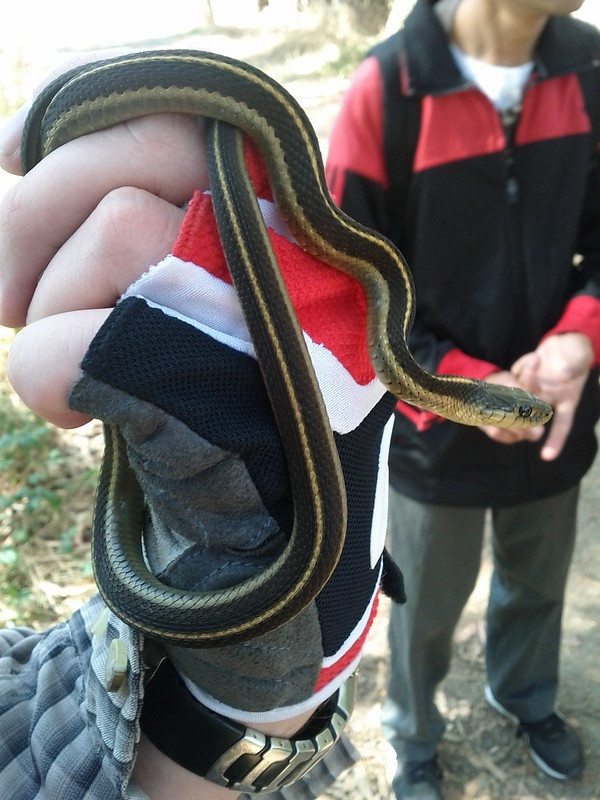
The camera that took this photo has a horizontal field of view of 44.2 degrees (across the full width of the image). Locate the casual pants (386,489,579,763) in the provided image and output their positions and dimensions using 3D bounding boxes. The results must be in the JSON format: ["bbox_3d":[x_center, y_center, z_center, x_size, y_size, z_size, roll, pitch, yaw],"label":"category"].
[{"bbox_3d":[0.668,0.680,2.641,0.501,0.988,0.671,-18,19,-33],"label":"casual pants"}]

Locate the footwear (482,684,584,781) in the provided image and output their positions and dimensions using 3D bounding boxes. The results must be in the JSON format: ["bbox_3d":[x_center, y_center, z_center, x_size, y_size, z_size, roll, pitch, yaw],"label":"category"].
[{"bbox_3d":[0.885,1.190,2.631,0.202,0.200,0.146,0,4,26],"label":"footwear"}]
